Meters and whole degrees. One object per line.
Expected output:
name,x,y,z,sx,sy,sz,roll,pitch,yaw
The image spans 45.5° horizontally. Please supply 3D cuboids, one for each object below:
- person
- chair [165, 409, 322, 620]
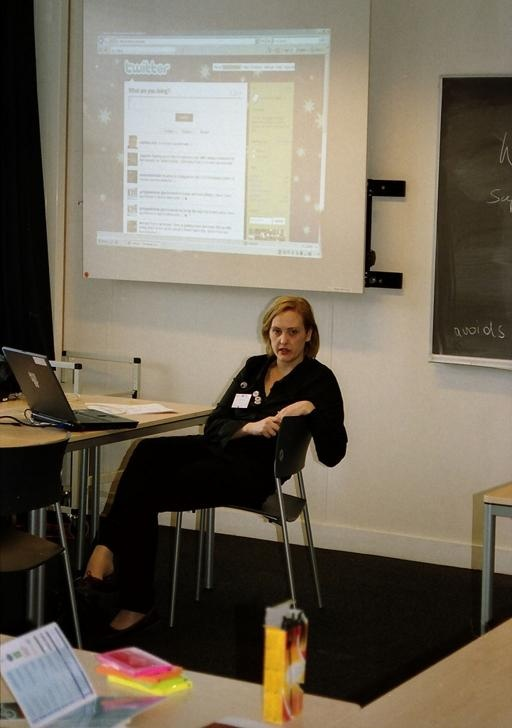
person,-0.154,0.402,3.184,1.280,1.912,0.876,8,-2,-14
chair,-0.043,0.604,2.486,0.595,0.899,0.607,-1,9,-23
